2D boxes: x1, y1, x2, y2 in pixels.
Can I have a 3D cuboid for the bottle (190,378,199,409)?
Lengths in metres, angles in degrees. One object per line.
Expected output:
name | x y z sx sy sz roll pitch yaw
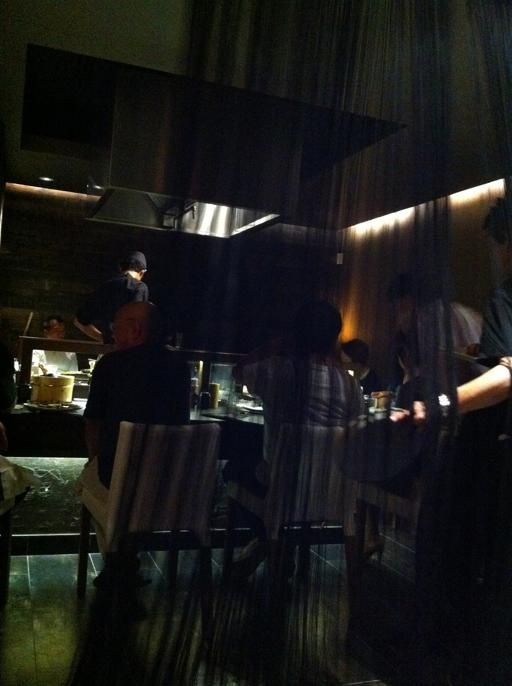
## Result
bottle | -0.117 0.098 1.046 0.014 0.058 0.011 3 0 3

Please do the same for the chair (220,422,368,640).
chair | 0.077 0.384 1.129 0.240 0.577 0.332 5 -14 -16

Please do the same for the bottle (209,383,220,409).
bottle | -0.079 0.103 1.047 0.021 0.049 0.017 4 -1 -10

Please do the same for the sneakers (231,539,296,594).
sneakers | 0.014 0.419 1.061 0.066 0.071 0.110 3 -4 -15
